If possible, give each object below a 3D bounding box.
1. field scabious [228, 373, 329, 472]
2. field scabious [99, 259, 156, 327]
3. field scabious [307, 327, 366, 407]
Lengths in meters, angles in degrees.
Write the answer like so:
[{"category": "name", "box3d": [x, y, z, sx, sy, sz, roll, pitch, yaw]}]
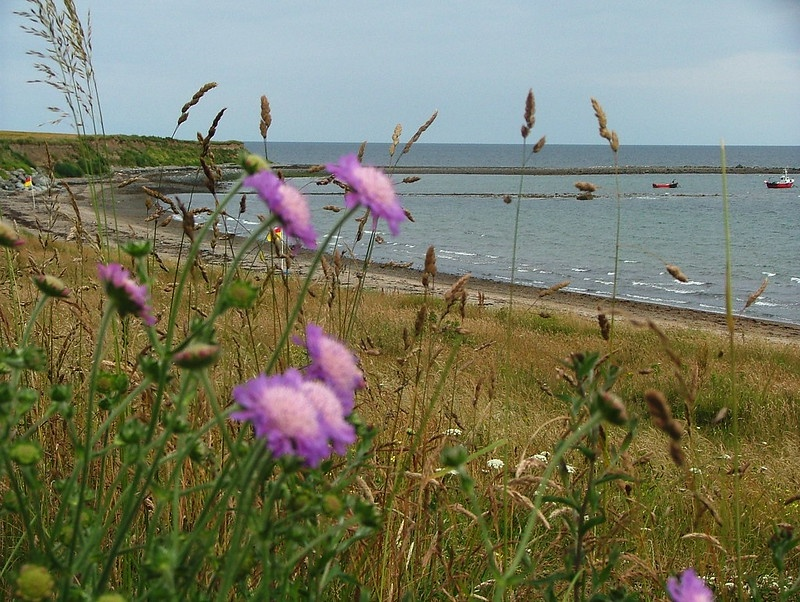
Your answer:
[{"category": "field scabious", "box3d": [-0.248, 0.244, 1.361, 0.189, 0.178, 0.156, 0, 8, -15]}, {"category": "field scabious", "box3d": [-0.616, -0.016, 1.486, 0.107, 0.145, 0.180, 0, 8, -18]}, {"category": "field scabious", "box3d": [-0.159, 0.156, 1.586, 0.170, 0.070, 0.156, 43, -10, -16]}]
